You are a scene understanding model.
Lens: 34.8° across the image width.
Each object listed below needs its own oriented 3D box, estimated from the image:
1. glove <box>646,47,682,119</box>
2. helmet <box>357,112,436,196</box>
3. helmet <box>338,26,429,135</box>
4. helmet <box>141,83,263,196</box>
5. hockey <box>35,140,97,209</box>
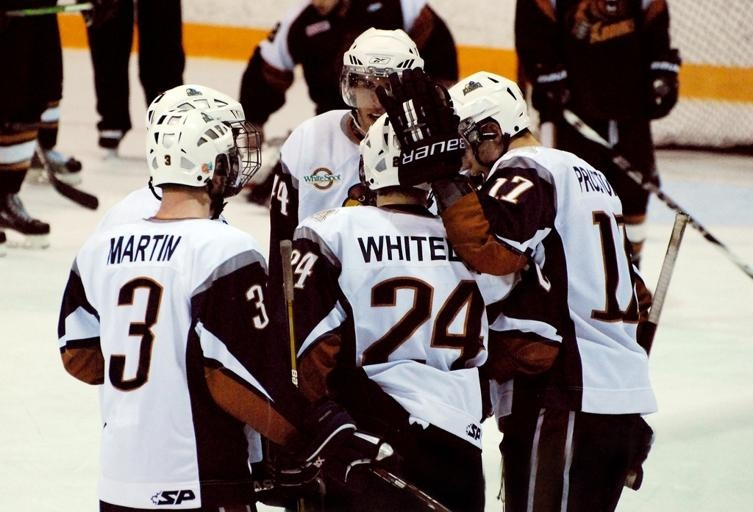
[{"bbox_3d":[1.868,-1.137,7.921,0.166,0.410,0.292,12,5,-20],"label":"glove"},{"bbox_3d":[0.061,-0.422,5.210,0.267,0.322,0.340,-14,52,13],"label":"helmet"},{"bbox_3d":[0.031,-0.885,6.009,0.412,0.520,0.499,7,25,10],"label":"helmet"},{"bbox_3d":[-0.786,-0.496,5.296,0.544,0.478,0.421,-7,11,-41],"label":"helmet"},{"bbox_3d":[-2.155,-0.518,8.141,0.112,0.118,0.697,-15,-33,20],"label":"hockey"}]
